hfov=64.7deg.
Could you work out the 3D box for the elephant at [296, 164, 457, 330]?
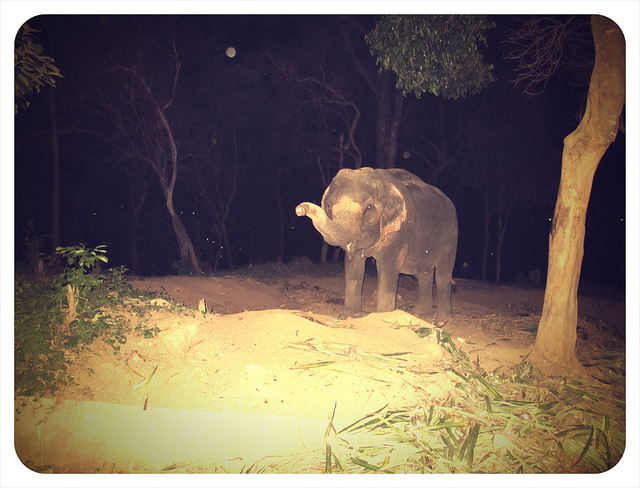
[{"bbox_3d":[1.090,0.046,8.560,3.627,2.812,1.422,1,8,-40],"label":"elephant"}]
